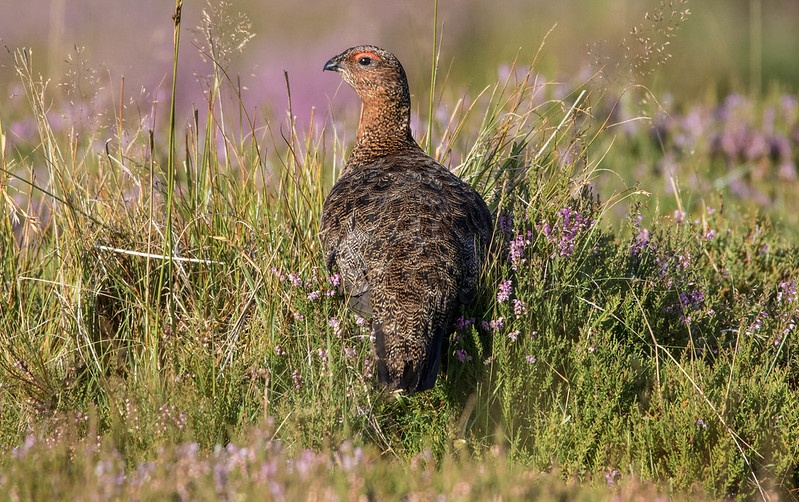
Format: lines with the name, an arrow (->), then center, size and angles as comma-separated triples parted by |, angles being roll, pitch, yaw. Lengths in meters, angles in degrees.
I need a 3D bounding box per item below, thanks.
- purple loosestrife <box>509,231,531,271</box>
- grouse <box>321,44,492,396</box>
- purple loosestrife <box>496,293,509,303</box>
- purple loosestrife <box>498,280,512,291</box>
purple loosestrife -> 0.993, -0.007, 8.251 | 0.192, 0.339, 0.355 | 2, -2, 0
grouse -> 0.076, -0.336, 8.640 | 1.464, 2.890, 2.719 | 1, 7, -9
purple loosestrife -> 0.817, 0.364, 7.982 | 0.075, 0.066, 0.080 | 7, 4, -5
purple loosestrife -> 0.852, 0.279, 8.035 | 0.072, 0.088, 0.082 | -5, -7, 17
